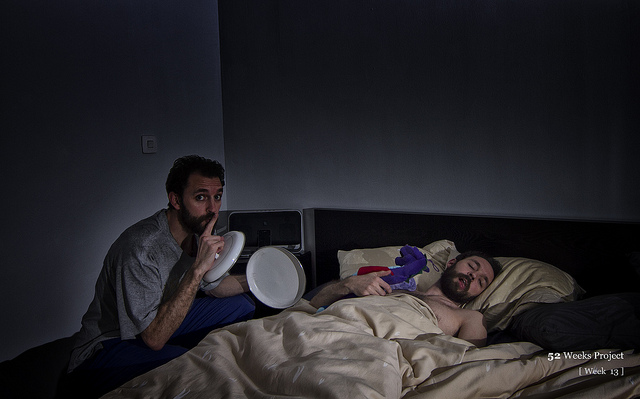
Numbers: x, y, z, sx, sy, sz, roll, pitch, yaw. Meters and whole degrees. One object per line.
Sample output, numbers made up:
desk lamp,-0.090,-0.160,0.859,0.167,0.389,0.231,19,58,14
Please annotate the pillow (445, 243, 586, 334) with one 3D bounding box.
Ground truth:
pillow,1.380,0.606,2.944,0.572,0.525,0.175,-15,-36,19

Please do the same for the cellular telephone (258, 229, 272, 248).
cellular telephone,-0.539,0.374,4.171,0.134,0.170,0.038,2,-9,-4

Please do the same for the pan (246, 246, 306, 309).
pan,-0.317,0.586,3.440,0.447,0.468,0.094,-35,-5,24
